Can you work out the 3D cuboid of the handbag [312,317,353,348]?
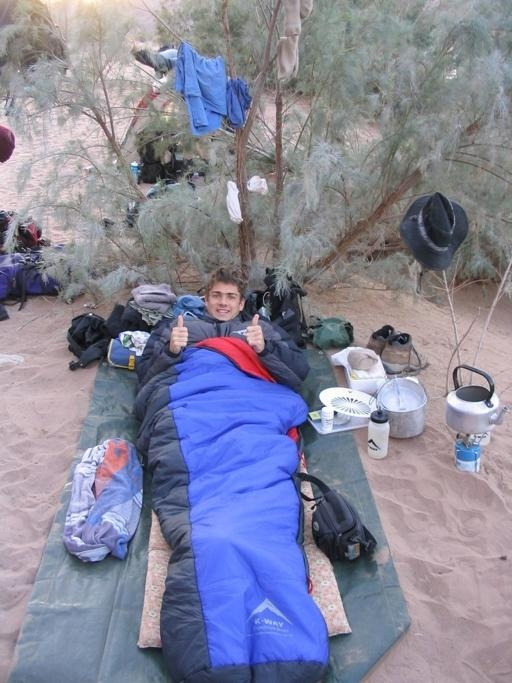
[{"bbox_3d":[0.621,-0.064,4.773,0.309,0.101,0.258,-11,31,-18],"label":"handbag"}]

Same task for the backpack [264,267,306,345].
[{"bbox_3d":[0.219,-0.273,4.724,0.357,0.588,0.439,1,23,-7],"label":"backpack"}]

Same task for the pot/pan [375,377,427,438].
[{"bbox_3d":[0.885,0.396,3.686,0.337,0.284,0.367,-2,34,7],"label":"pot/pan"}]
